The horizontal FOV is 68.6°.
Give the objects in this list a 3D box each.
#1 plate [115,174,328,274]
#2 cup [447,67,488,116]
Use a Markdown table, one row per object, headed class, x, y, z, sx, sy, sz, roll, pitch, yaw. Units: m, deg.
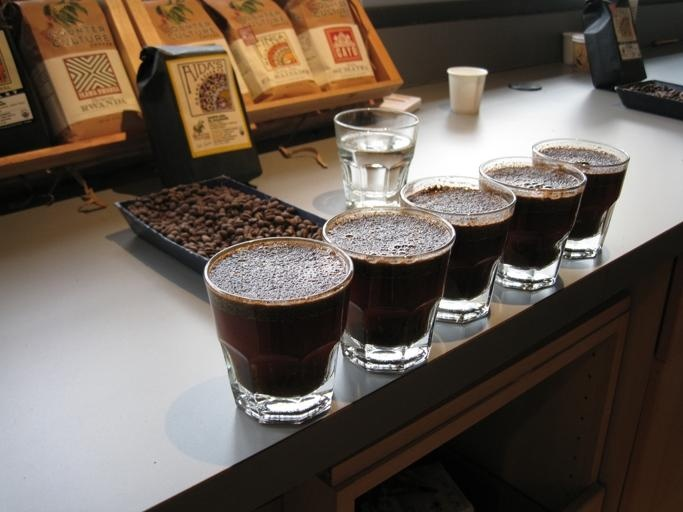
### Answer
| class | x | y | z | sx | sy | sz | roll | pitch | yaw |
| --- | --- | --- | --- | --- | --- | --- | --- | --- | --- |
| plate | -0.200 | -0.062 | 0.764 | 0.199 | 0.038 | 0.196 | 25 | 35 | 36 |
| cup | 0.318 | -0.448 | 1.365 | 0.128 | 0.115 | 0.133 | -1 | 24 | 0 |
